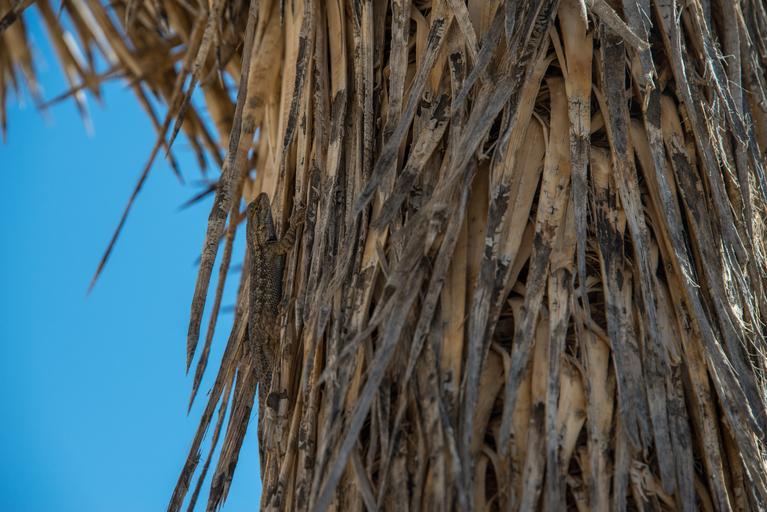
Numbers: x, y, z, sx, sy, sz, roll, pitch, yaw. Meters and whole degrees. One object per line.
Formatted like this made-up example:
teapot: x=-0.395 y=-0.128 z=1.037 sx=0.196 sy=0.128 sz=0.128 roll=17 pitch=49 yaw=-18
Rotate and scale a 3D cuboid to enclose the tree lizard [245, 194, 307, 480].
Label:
tree lizard: x=-0.292 y=0.118 z=3.844 sx=0.127 sy=0.754 sz=0.246 roll=7 pitch=-36 yaw=-6
